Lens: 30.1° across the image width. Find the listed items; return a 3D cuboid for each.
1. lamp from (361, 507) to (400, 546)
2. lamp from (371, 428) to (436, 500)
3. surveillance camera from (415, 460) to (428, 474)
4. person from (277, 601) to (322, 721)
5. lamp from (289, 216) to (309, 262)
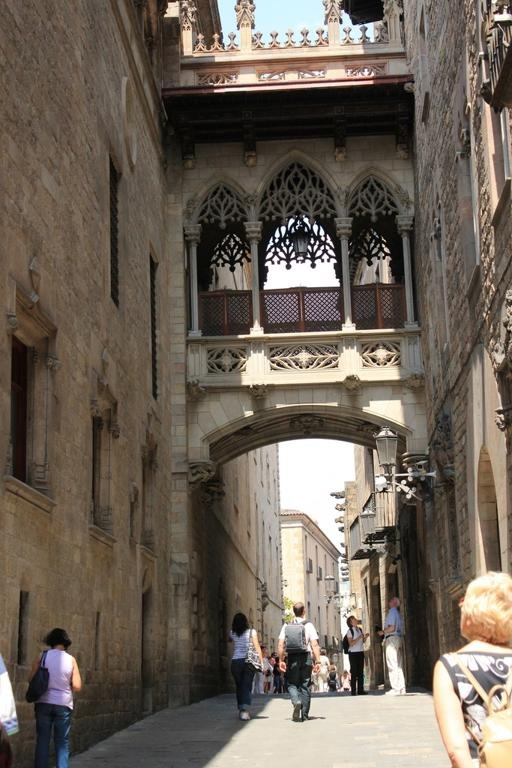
[{"bbox_3d":[2.945,3.566,23.050,0.862,0.770,1.039,2,-14,-10],"label":"lamp"},{"bbox_3d":[2.314,1.173,14.379,0.883,1.281,0.364,-4,12,2],"label":"lamp"},{"bbox_3d":[2.727,1.345,15.667,0.138,0.325,0.290,-1,-4,7],"label":"surveillance camera"},{"bbox_3d":[0.484,3.150,10.830,0.390,1.325,0.363,14,-23,-35],"label":"person"},{"bbox_3d":[0.854,-2.820,18.767,0.388,1.022,0.434,-5,-14,7],"label":"lamp"}]
